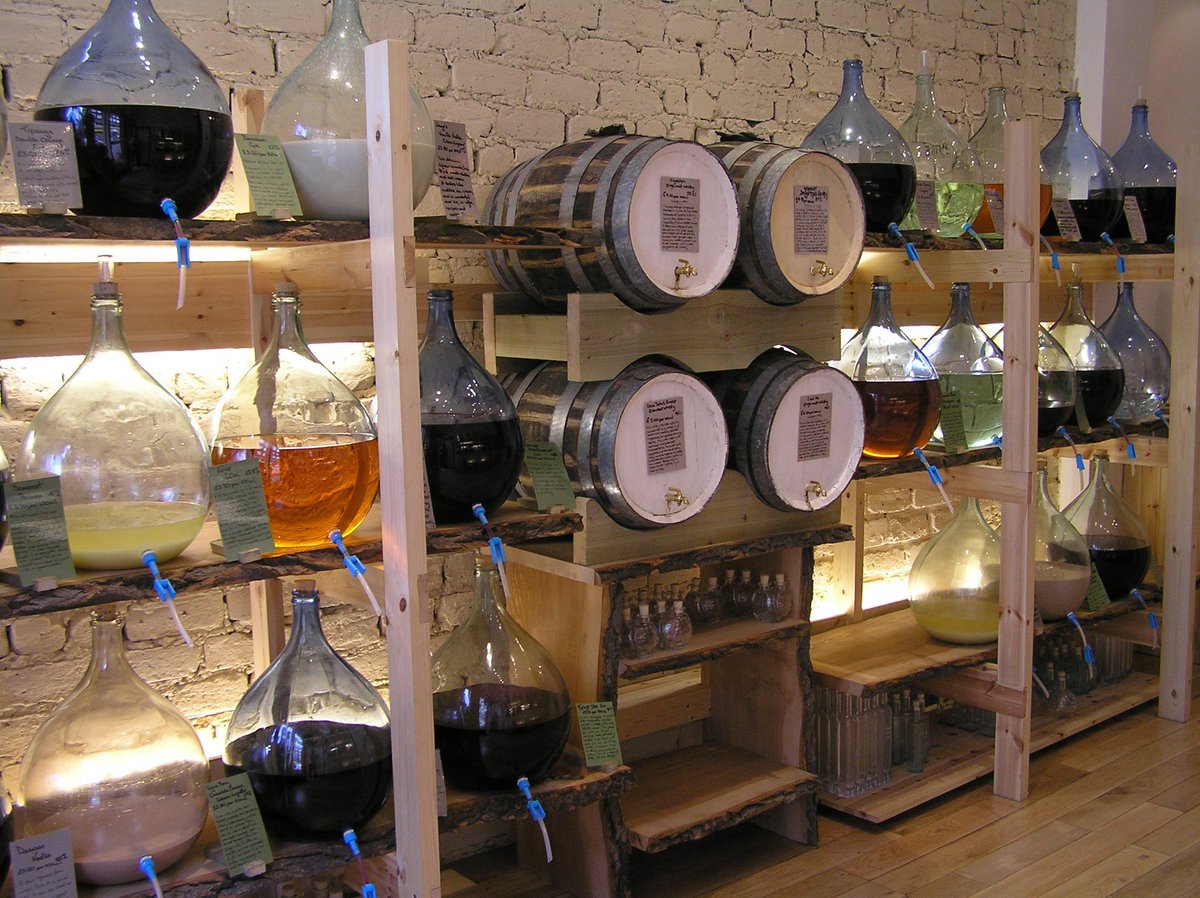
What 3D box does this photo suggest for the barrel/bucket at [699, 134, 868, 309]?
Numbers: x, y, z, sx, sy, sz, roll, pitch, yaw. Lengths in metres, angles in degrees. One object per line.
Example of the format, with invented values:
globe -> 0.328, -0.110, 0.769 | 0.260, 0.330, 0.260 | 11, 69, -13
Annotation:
barrel/bucket -> 0.476, -0.608, 2.808 | 0.422, 0.410, 0.562 | -5, 14, -33

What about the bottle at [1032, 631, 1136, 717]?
bottle -> 1.752, 0.766, 3.767 | 0.482, 0.194, 0.289 | -9, 9, -38

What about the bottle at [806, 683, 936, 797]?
bottle -> 0.803, 0.894, 3.123 | 0.304, 0.214, 0.398 | -4, 0, -29

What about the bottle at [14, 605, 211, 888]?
bottle -> -0.908, 0.554, 1.879 | 0.259, 0.454, 0.214 | 1, 10, 17

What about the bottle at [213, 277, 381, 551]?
bottle -> -0.598, -0.064, 1.974 | 0.293, 0.485, 0.290 | -2, 9, 0

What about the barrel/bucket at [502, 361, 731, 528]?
barrel/bucket -> 0.006, -0.013, 2.570 | 0.501, 0.410, 0.312 | 6, 12, 40

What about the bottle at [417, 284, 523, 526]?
bottle -> -0.281, -0.098, 2.201 | 0.211, 0.486, 0.272 | -3, 10, -7

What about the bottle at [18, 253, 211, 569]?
bottle -> -0.866, -0.044, 1.821 | 0.241, 0.499, 0.236 | -2, 10, 0

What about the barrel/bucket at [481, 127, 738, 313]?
barrel/bucket -> -0.038, -0.560, 2.508 | 0.601, 0.448, 0.443 | 6, 12, 40

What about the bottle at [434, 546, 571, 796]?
bottle -> -0.234, 0.511, 2.307 | 0.296, 0.480, 0.212 | -3, 10, -10
